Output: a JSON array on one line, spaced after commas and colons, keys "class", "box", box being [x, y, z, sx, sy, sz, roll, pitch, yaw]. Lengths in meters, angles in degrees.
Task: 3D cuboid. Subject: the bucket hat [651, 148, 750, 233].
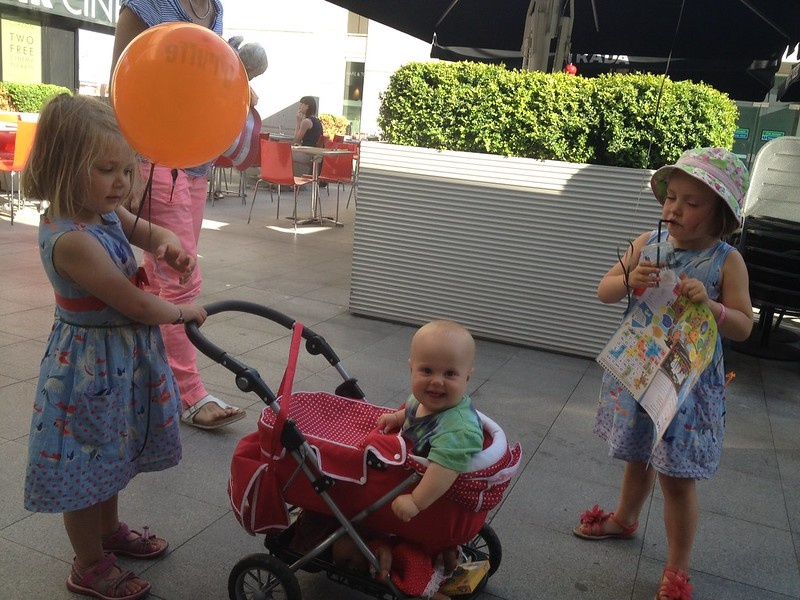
[{"class": "bucket hat", "box": [1.173, -0.435, 2.301, 0.323, 0.317, 0.394, 9, 18, 14]}]

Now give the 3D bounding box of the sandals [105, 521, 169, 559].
[{"class": "sandals", "box": [-1.040, 0.955, 2.362, 0.255, 0.114, 0.102, 4, 7, -7]}]

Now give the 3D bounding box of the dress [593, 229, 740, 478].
[{"class": "dress", "box": [1.082, 0.234, 2.388, 0.381, 0.917, 0.531, -18, 22, -42]}]

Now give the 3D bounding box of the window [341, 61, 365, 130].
[{"class": "window", "box": [-1.315, -5.452, 16.088, 0.201, 1.951, 0.833, 17, 23, 32]}]

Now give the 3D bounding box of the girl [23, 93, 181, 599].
[{"class": "girl", "box": [-1.049, 0.189, 2.057, 0.503, 1.716, 0.510, -3, 19, -22]}]

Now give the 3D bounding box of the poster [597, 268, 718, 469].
[{"class": "poster", "box": [0.994, 0.180, 2.236, 0.183, 0.589, 0.470, -16, 36, -36]}]

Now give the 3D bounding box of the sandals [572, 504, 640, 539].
[{"class": "sandals", "box": [0.937, 0.985, 2.644, 0.246, 0.107, 0.127, 2, 5, 7]}]

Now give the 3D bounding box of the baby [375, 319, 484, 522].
[{"class": "baby", "box": [0.110, 0.464, 2.224, 0.326, 0.578, 0.437, 19, 25, -4]}]

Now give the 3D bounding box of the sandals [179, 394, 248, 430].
[{"class": "sandals", "box": [-1.021, 0.611, 3.224, 0.278, 0.101, 0.169, 4, 8, 17]}]

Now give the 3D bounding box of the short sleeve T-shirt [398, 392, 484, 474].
[{"class": "short sleeve T-shirt", "box": [0.147, 0.508, 1.991, 0.198, 0.174, 0.352, 15, 3, -16]}]
